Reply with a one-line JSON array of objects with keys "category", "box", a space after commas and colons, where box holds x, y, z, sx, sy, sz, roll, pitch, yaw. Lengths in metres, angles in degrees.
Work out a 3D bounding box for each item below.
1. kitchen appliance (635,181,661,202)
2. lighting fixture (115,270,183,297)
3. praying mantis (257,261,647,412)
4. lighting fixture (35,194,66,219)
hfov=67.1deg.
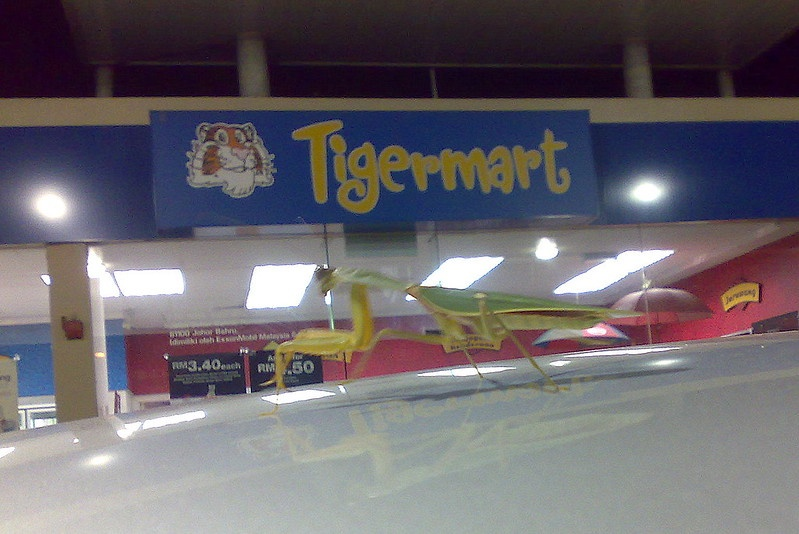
[{"category": "kitchen appliance", "box": [1.458, -0.439, 3.524, 0.140, 0.116, 0.033, -15, -7, -9]}, {"category": "lighting fixture", "box": [-1.247, 0.074, 2.982, 0.393, 0.118, 0.210, -1, 11, 24]}, {"category": "praying mantis", "box": [0.071, 0.106, 1.021, 0.498, 0.160, 0.278, -6, -12, 23]}, {"category": "lighting fixture", "box": [-1.742, -0.300, 2.981, 0.136, 0.130, 0.030, 8, -2, -15]}]
